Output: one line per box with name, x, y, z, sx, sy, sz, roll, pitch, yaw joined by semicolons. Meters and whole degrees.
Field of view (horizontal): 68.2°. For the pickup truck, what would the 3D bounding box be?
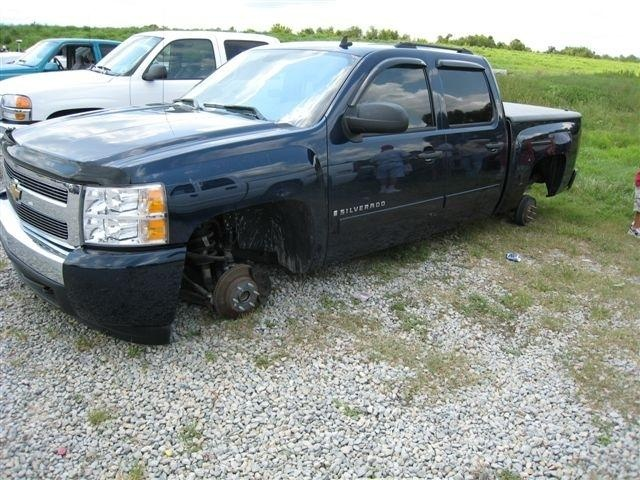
pickup truck;0.202;-0.622;4.571;5.177;1.359;2.567;-10;21;-31
